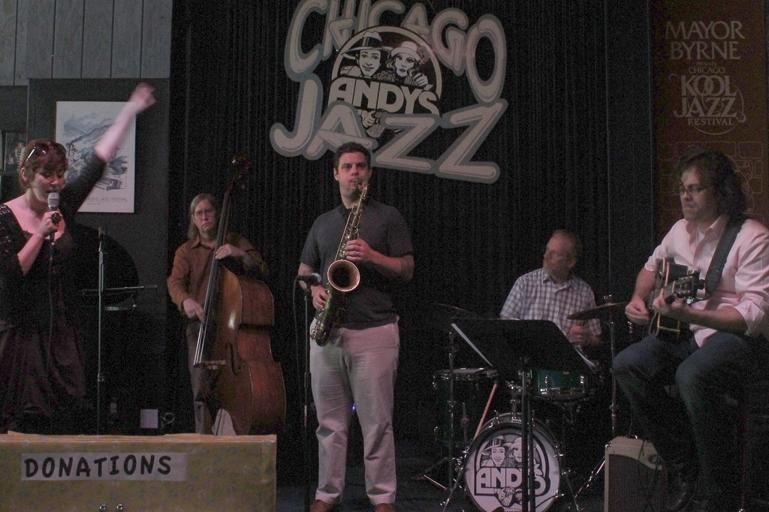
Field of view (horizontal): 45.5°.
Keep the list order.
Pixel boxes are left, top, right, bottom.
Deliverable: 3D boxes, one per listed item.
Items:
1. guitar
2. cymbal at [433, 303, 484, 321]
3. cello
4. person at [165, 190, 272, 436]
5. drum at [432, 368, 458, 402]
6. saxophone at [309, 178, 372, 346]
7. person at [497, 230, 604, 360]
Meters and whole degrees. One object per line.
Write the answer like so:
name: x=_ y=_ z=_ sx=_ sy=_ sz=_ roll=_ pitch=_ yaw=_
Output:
guitar: x=1.968 y=0.309 z=6.224 sx=0.377 sy=0.558 sz=0.411 roll=0 pitch=7 yaw=3
cymbal: x=0.534 y=0.438 z=7.049 sx=0.338 sy=0.121 sz=0.227 roll=1 pitch=-2 yaw=2
cello: x=-1.084 y=0.684 z=7.097 sx=0.658 sy=1.373 sz=0.385 roll=1 pitch=-1 yaw=14
person: x=-1.264 y=0.471 z=7.550 sx=0.818 sy=1.830 sz=0.637 roll=-11 pitch=-12 yaw=40
drum: x=0.470 y=1.026 z=7.237 sx=0.210 sy=0.233 sz=0.209 roll=0 pitch=0 yaw=-33
saxophone: x=-0.322 y=0.030 z=6.705 sx=0.297 sy=1.273 sz=0.289 roll=21 pitch=-8 yaw=-19
person: x=1.380 y=0.213 z=7.685 sx=0.901 sy=1.036 sz=0.772 roll=7 pitch=8 yaw=15
